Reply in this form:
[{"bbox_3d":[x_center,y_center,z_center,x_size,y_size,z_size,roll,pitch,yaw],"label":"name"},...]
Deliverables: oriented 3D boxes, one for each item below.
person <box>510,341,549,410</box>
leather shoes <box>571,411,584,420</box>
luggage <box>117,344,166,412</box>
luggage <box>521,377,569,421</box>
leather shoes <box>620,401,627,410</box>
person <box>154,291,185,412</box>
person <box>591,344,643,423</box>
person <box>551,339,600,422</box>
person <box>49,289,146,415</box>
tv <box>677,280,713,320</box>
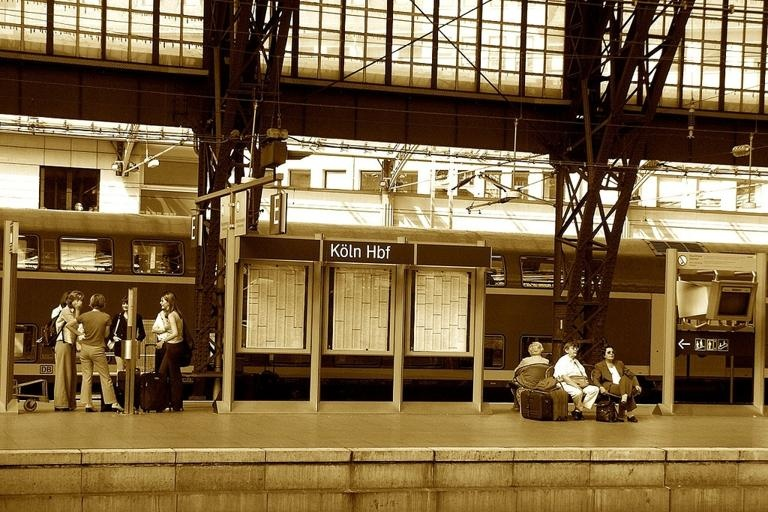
[{"bbox_3d":[3.622,2.911,40.001,0.759,1.711,0.863,2,-2,-20],"label":"person"},{"bbox_3d":[4.630,3.836,39.366,0.283,0.158,0.402,1,-1,4],"label":"leather shoes"},{"bbox_3d":[-5.639,2.967,38.626,0.946,1.612,0.778,2,6,5],"label":"luggage"},{"bbox_3d":[3.803,3.420,38.998,0.934,0.992,0.927,0,0,-6],"label":"luggage"},{"bbox_3d":[5.699,3.632,39.387,0.165,0.177,0.175,3,3,12],"label":"leather shoes"},{"bbox_3d":[-4.956,2.284,38.751,0.728,2.679,0.897,0,-1,-34],"label":"person"},{"bbox_3d":[5.572,3.093,39.808,1.052,1.816,0.832,-1,2,-1],"label":"person"},{"bbox_3d":[4.616,3.035,39.691,1.055,1.800,1.093,1,4,0],"label":"person"},{"bbox_3d":[-6.864,2.186,38.739,1.215,3.178,1.193,1,-1,-3],"label":"person"},{"bbox_3d":[7.622,1.118,40.435,0.859,1.221,0.891,2,0,8],"label":"tv"}]
